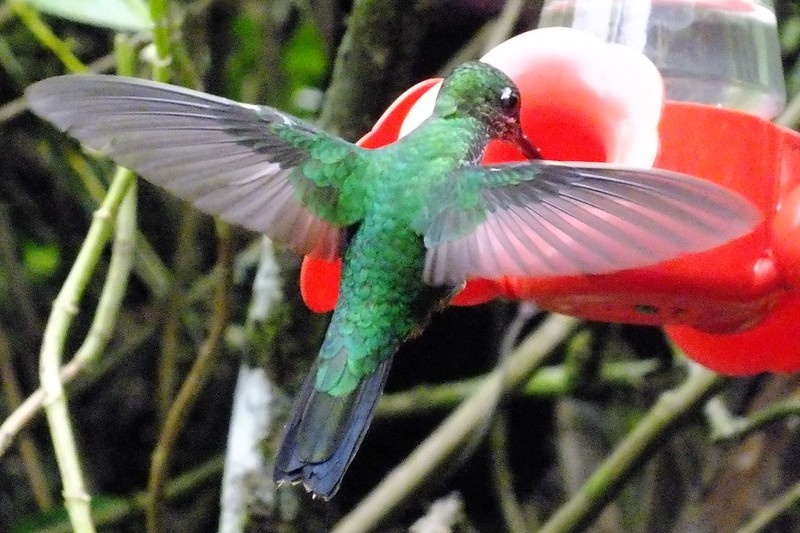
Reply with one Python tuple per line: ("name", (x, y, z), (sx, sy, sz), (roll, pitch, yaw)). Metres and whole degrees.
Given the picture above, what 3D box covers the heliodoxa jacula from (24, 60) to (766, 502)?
("heliodoxa jacula", (0.004, -0.036, 1.903), (1.127, 0.411, 0.748), (9, 42, 31))
